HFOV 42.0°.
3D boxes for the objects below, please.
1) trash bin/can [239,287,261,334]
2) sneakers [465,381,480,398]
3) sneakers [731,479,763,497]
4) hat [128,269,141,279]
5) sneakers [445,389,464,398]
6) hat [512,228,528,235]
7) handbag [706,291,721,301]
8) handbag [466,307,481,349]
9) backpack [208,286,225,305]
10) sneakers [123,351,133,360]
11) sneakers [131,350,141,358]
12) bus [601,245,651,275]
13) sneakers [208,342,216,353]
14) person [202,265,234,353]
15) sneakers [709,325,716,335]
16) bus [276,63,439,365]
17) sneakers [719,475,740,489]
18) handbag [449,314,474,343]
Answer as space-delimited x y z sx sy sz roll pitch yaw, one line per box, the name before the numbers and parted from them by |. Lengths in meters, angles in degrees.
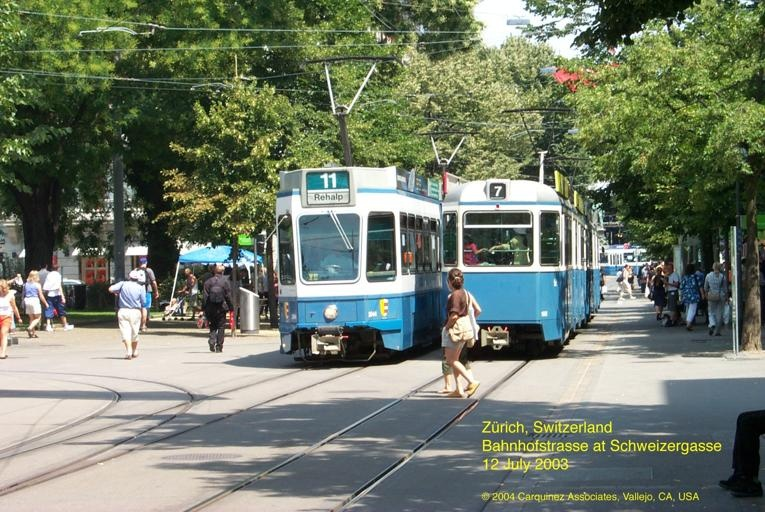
trash bin/can | -4.326 1.805 32.253 0.561 1.529 1.106 -3 3 -12
sneakers | 1.692 2.473 18.690 0.215 0.262 0.690 -2 3 5
sneakers | 4.746 3.022 12.900 0.466 0.194 0.164 1 -2 -1
hat | -6.836 0.565 27.386 0.436 0.185 0.593 1 -3 -1
sneakers | 1.354 2.556 18.509 0.376 0.228 0.126 7 10 32
hat | 3.268 -0.540 23.354 0.351 0.162 0.079 -2 3 2
handbag | 9.291 1.143 27.777 0.229 0.266 0.381 -7 8 -39
handbag | 1.733 1.344 18.649 0.288 0.772 0.574 3 -5 3
backpack | -4.391 1.090 26.218 0.342 0.425 0.425 1 -9 -2
sneakers | -6.597 2.597 25.710 0.212 0.150 0.459 -2 3 -14
sneakers | -6.521 2.599 26.180 0.165 0.189 0.487 2 -8 1
bus | 25.134 0.416 102.348 3.433 3.490 8.961 -1 -4 9
sneakers | -4.612 2.495 26.894 0.115 0.329 0.139 -15 30 -17
person | -4.451 1.452 26.769 0.740 2.430 1.535 -2 3 -10
sneakers | 9.406 2.165 28.178 0.155 0.186 0.461 1 -35 19
bus | -0.346 0.236 23.825 2.210 4.629 4.094 1 4 40
sneakers | 4.534 2.948 12.969 0.299 0.126 0.113 -1 -1 22
handbag | 1.466 1.366 18.424 0.465 0.481 0.151 -3 4 -24
